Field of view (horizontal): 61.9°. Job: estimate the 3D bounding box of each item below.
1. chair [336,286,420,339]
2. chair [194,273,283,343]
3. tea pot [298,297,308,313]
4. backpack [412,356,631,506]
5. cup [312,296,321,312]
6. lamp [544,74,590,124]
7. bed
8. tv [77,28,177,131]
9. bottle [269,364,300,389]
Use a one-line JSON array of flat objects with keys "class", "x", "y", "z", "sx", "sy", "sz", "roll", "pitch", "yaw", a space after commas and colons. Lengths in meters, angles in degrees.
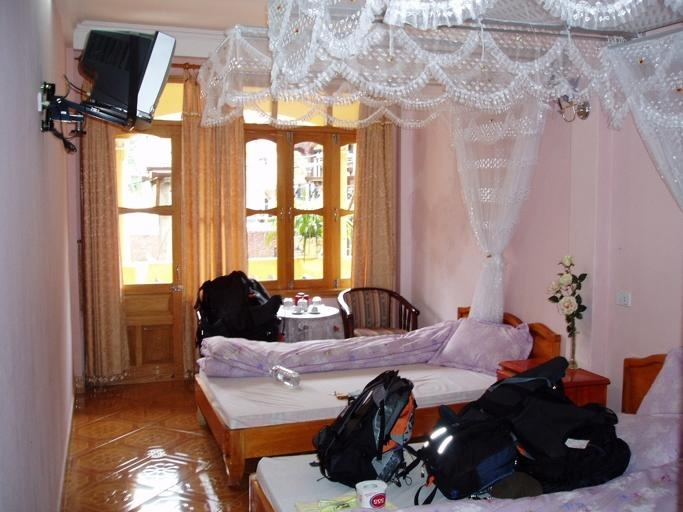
[{"class": "chair", "x": 0.428, "y": 0.714, "z": 6.351, "sx": 0.682, "sy": 0.920, "sz": 0.564, "roll": -1, "pitch": -3, "yaw": -17}, {"class": "chair", "x": -0.998, "y": 0.489, "z": 5.702, "sx": 0.782, "sy": 0.805, "sz": 0.627, "roll": 2, "pitch": -8, "yaw": 10}, {"class": "tea pot", "x": -0.396, "y": 0.499, "z": 5.816, "sx": 0.097, "sy": 0.133, "sz": 0.134, "roll": 2, "pitch": -3, "yaw": -11}, {"class": "backpack", "x": 0.938, "y": 0.997, "z": 2.998, "sx": 0.809, "sy": 0.329, "sz": 0.631, "roll": -17, "pitch": 6, "yaw": -19}, {"class": "cup", "x": -0.267, "y": 0.506, "z": 5.883, "sx": 0.080, "sy": 0.138, "sz": 0.128, "roll": 1, "pitch": -6, "yaw": -3}, {"class": "lamp", "x": 1.319, "y": -0.917, "z": 3.302, "sx": 0.224, "sy": 0.305, "sz": 0.107, "roll": -20, "pitch": 3, "yaw": -10}, {"class": "bed", "x": 0.338, "y": 1.053, "z": 3.798, "sx": 2.075, "sy": 0.940, "sz": 1.769, "roll": 1, "pitch": -1, "yaw": -13}, {"class": "tv", "x": -1.483, "y": -1.121, "z": 3.856, "sx": 0.550, "sy": 0.705, "sz": 0.683, "roll": 5, "pitch": 14, "yaw": -45}, {"class": "bottle", "x": -0.440, "y": 0.912, "z": 4.324, "sx": 0.214, "sy": 0.116, "sz": 0.053, "roll": 25, "pitch": 21, "yaw": 30}]
